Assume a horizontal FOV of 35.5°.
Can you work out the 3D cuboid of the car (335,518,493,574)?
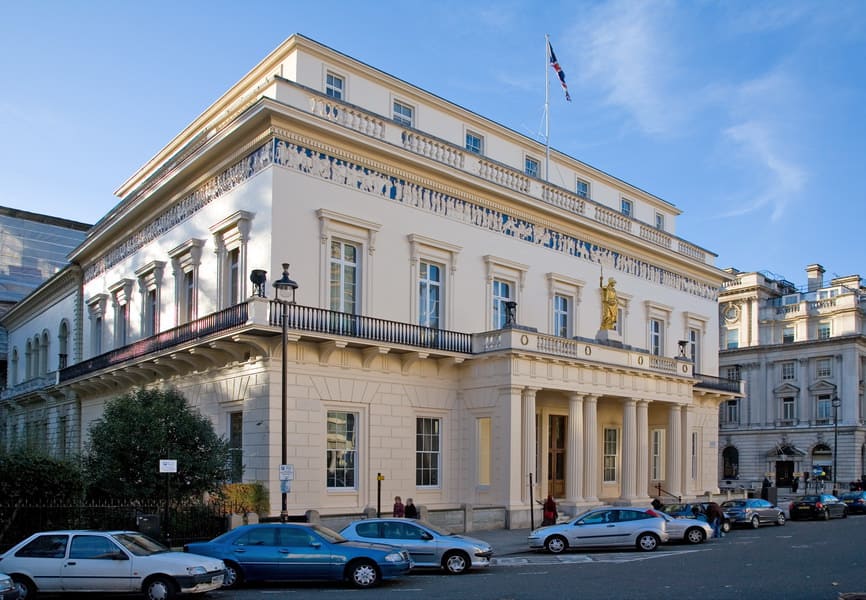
[{"bbox_3d":[-0.544,10.474,58.102,5.873,1.889,2.631,0,-6,-2],"label":"car"}]

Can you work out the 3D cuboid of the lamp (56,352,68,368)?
[{"bbox_3d":[-22.861,3.692,83.174,0.891,0.879,0.811,0,-7,-8],"label":"lamp"}]

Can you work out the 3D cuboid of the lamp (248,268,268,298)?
[{"bbox_3d":[-8.205,-0.861,63.418,0.756,1.635,2.187,2,-17,-7],"label":"lamp"}]

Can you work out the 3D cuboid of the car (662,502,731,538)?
[{"bbox_3d":[13.386,11.059,67.559,3.112,1.354,1.738,-1,-5,-14],"label":"car"}]

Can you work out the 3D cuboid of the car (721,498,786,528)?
[{"bbox_3d":[17.281,11.566,72.854,3.887,1.180,1.613,3,-6,-43],"label":"car"}]

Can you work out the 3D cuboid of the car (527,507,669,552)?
[{"bbox_3d":[7.641,10.693,62.638,5.417,1.770,2.560,2,-11,-1],"label":"car"}]
